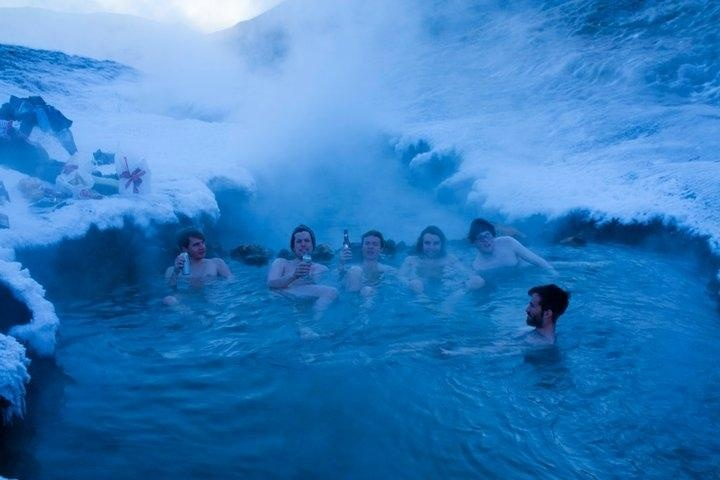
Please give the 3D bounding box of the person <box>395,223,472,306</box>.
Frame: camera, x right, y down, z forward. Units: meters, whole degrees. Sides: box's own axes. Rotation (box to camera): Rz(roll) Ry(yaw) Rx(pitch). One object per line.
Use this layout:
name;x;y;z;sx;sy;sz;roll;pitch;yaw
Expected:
person;1.497;0.555;10.553;1.250;0.732;1.634;-7;33;-2

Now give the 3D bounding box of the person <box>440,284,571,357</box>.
person;2.555;1.244;8.600;1.627;1.047;0.381;-1;4;-17

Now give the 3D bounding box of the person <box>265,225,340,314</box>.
person;-1.066;0.444;10.187;1.186;1.454;1.548;-2;4;-23
